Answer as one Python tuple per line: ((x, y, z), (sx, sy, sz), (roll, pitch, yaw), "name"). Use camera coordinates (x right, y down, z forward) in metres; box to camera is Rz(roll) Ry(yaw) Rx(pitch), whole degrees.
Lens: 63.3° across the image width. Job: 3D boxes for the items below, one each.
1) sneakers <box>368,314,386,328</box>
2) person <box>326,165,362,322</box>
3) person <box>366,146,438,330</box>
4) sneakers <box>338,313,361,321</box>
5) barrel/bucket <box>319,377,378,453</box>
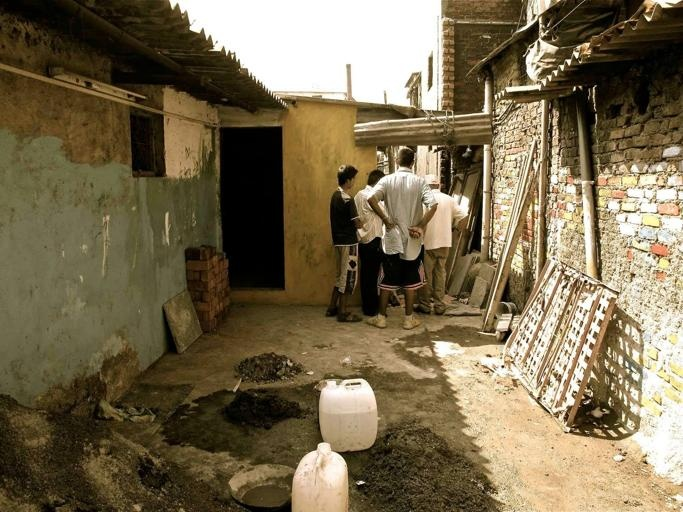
((0.484, 0.886, 7.802), (0.119, 0.202, 0.304), (-5, 16, -36), "sneakers")
((0.023, -0.193, 8.067), (0.487, 2.234, 0.699), (1, 12, -1), "person")
((0.813, -0.215, 7.497), (0.850, 2.449, 0.511), (3, 12, 9), "person")
((0.098, 0.880, 8.036), (0.267, 0.127, 0.147), (-2, 6, -5), "sneakers")
((0.015, 1.342, 4.903), (0.491, 0.632, 0.515), (-1, 0, 0), "barrel/bucket")
